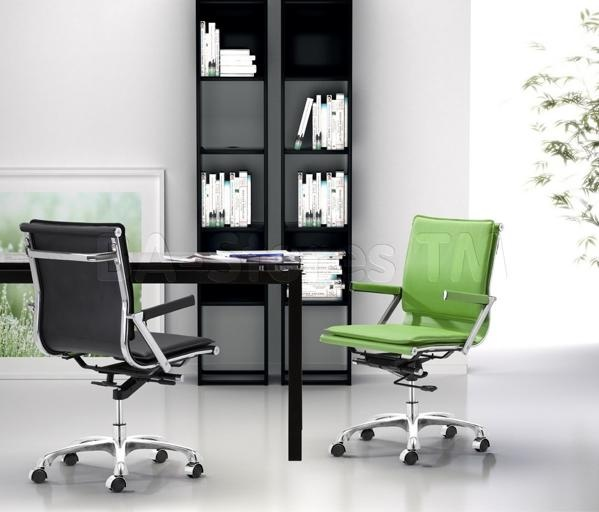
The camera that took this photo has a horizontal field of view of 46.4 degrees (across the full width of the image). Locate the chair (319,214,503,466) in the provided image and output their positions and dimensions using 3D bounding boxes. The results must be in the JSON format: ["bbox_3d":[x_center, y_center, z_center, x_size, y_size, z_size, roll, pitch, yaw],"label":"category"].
[{"bbox_3d":[0.613,0.388,3.473,0.723,1.142,0.743,5,8,41],"label":"chair"}]

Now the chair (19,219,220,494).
[{"bbox_3d":[-0.810,0.417,3.053,0.760,1.157,0.424,1,6,17],"label":"chair"}]

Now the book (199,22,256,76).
[{"bbox_3d":[-0.474,-1.364,4.616,0.353,0.340,0.052,0,6,1],"label":"book"}]
